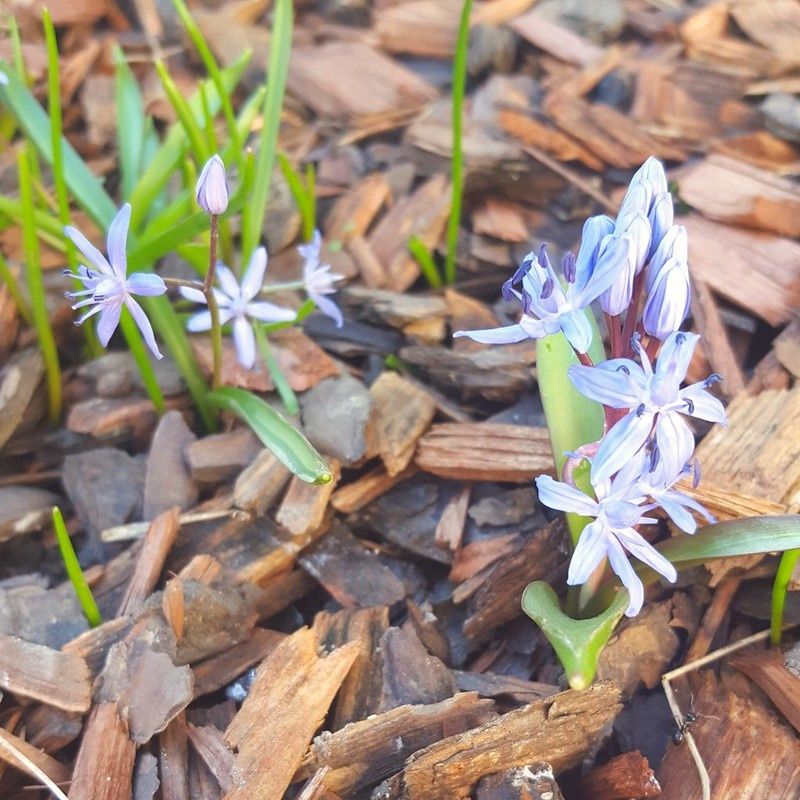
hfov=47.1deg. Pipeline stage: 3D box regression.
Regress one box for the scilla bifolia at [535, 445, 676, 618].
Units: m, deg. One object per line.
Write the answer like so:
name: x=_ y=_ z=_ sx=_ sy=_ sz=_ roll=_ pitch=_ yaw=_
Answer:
scilla bifolia: x=0.369 y=0.271 z=1.803 sx=0.286 sy=0.179 sz=0.296 roll=-17 pitch=85 yaw=-26

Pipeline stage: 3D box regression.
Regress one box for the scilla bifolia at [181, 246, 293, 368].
scilla bifolia: x=-0.386 y=-0.231 z=2.231 sx=0.241 sy=0.054 sz=0.326 roll=7 pitch=89 yaw=13

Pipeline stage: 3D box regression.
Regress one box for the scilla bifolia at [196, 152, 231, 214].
scilla bifolia: x=-0.366 y=-0.418 z=1.778 sx=0.050 sy=0.134 sz=0.068 roll=-3 pitch=50 yaw=-19
